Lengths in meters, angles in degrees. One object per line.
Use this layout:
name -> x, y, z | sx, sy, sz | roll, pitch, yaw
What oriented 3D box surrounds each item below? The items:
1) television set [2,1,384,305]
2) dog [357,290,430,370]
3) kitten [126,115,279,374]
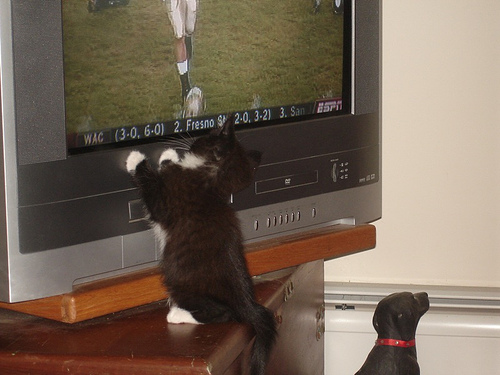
television set -> -0.126, -0.083, 0.995 | 0.784, 0.651, 0.303 | -5, 4, -38
dog -> 0.331, 0.314, 1.082 | 0.160, 0.173, 0.078 | -9, 12, -29
kitten -> -0.095, 0.090, 1.000 | 0.224, 0.485, 0.227 | -23, -13, 36
